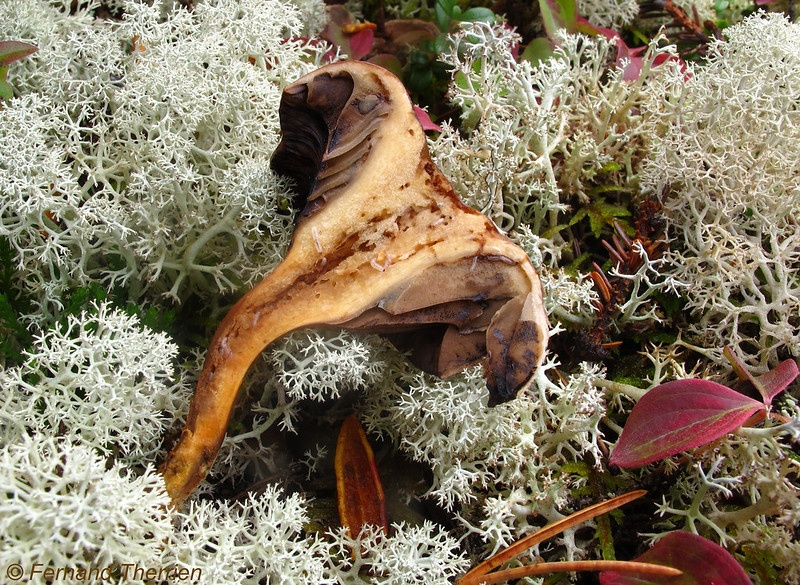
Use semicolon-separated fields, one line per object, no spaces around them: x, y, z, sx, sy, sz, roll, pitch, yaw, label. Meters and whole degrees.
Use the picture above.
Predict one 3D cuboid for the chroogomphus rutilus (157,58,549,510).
-0.039;-0.050;1.539;0.649;0.673;0.227;38;-1;32;chroogomphus rutilus
